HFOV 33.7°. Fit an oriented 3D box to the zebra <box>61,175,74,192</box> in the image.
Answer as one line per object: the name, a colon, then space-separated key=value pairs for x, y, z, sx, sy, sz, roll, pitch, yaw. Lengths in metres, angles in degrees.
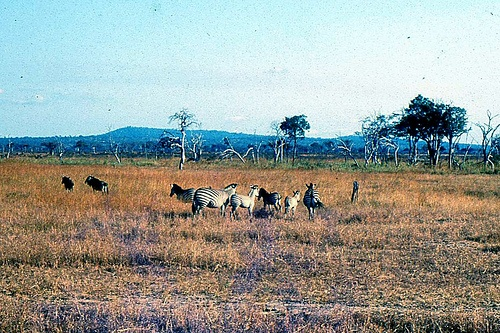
zebra: x=-11.782 y=1.150 z=53.146 sx=0.676 sy=0.934 sz=1.238 roll=-2 pitch=12 yaw=-13

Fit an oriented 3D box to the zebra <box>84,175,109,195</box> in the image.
zebra: x=-9.741 y=1.179 z=52.861 sx=1.623 sy=0.924 sz=0.563 roll=6 pitch=12 yaw=27

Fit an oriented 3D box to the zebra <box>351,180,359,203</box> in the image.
zebra: x=6.561 y=1.256 z=51.146 sx=0.413 sy=0.534 sz=1.866 roll=-1 pitch=46 yaw=9
